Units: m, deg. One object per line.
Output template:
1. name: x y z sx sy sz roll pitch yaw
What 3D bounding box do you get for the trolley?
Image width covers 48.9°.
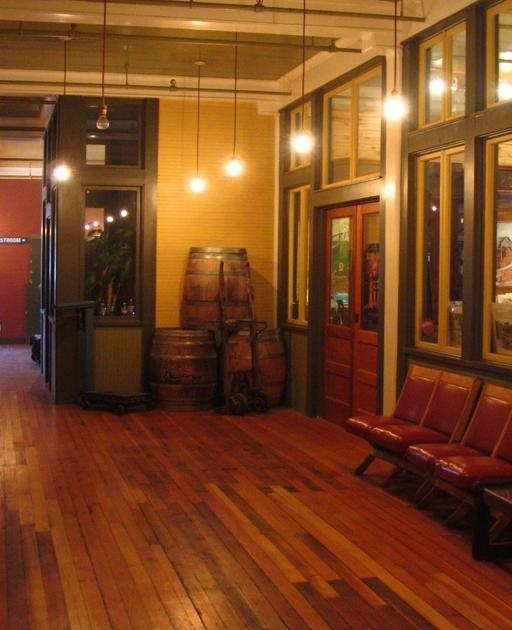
1. trolley: -0.173 0.289 6.976 0.581 1.946 0.451 0 -3 7

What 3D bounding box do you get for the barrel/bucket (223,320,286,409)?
1. barrel/bucket: -0.022 0.633 7.189 0.838 1.411 0.958 0 2 8

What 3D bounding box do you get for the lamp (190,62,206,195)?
1. lamp: -0.757 -2.404 7.352 0.221 1.546 0.978 1 -3 -6

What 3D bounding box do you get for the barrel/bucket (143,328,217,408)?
1. barrel/bucket: -0.883 0.688 7.260 0.802 1.020 0.884 0 -1 20

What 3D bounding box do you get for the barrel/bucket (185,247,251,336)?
1. barrel/bucket: -0.425 -0.279 7.371 0.851 1.114 0.944 0 0 11
